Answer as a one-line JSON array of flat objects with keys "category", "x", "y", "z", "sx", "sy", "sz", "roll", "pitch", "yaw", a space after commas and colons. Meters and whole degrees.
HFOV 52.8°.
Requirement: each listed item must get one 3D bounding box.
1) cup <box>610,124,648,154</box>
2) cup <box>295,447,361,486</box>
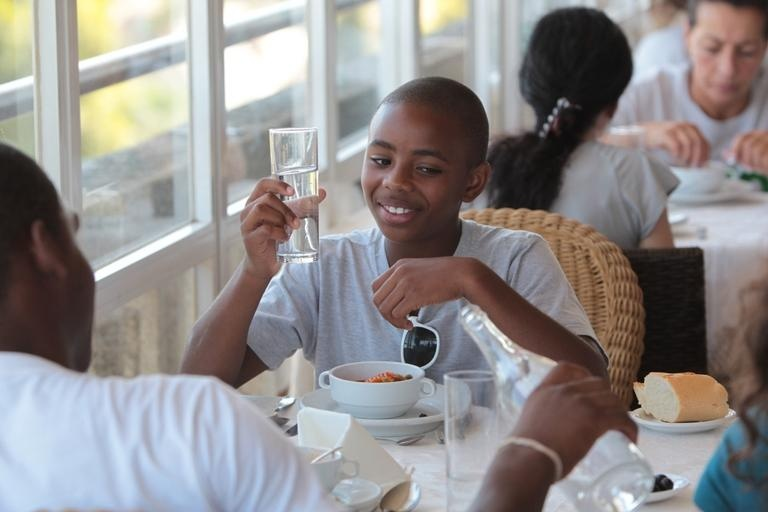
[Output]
[{"category": "cup", "x": 0.846, "y": -0.401, "z": 2.660, "sx": 0.095, "sy": 0.088, "sz": 0.100, "roll": -2, "pitch": 6, "yaw": 0}, {"category": "cup", "x": -0.104, "y": 0.372, "z": 1.386, "sx": 0.099, "sy": 0.045, "sz": 0.067, "roll": 6, "pitch": -8, "yaw": -19}]
